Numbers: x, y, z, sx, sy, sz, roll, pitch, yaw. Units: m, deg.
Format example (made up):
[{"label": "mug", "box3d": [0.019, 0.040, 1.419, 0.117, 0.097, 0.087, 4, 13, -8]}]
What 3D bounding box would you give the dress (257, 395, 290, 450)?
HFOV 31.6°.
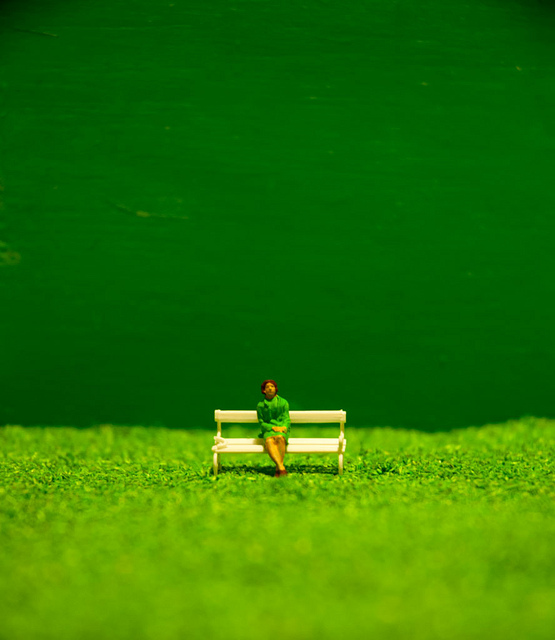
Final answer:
[{"label": "dress", "box3d": [-0.033, 1.200, 11.944, 0.451, 0.522, 0.708, 0, 75, 1]}]
